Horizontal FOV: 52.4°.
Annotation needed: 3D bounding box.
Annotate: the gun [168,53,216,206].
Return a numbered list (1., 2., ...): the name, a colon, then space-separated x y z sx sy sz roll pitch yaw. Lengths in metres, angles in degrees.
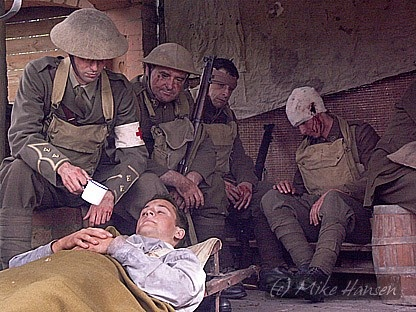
1. gun: -0.155 -0.213 3.907 0.115 1.485 0.342 9 -7 41

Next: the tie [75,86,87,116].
1. tie: -0.931 -0.416 3.110 0.100 0.182 0.043 -4 3 -33

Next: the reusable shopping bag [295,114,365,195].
1. reusable shopping bag: 1.207 -0.017 4.142 0.548 0.707 0.382 -30 -24 37
